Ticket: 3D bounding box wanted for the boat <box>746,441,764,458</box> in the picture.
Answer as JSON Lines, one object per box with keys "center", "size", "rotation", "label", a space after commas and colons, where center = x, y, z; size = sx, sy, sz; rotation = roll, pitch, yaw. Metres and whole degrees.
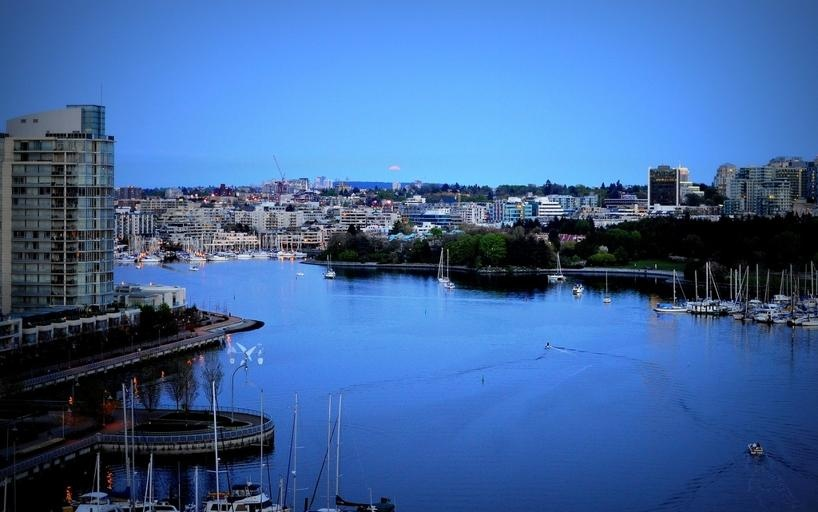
{"center": [15.988, 8.851, 45.737], "size": [0.534, 0.285, 0.747], "rotation": [2, 5, 10], "label": "boat"}
